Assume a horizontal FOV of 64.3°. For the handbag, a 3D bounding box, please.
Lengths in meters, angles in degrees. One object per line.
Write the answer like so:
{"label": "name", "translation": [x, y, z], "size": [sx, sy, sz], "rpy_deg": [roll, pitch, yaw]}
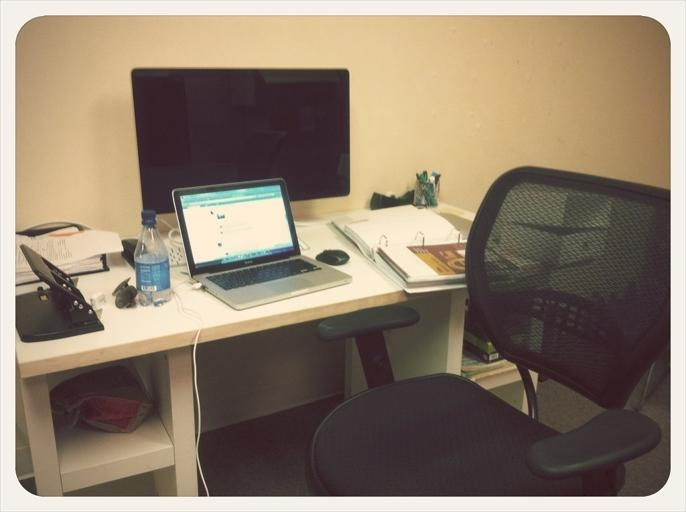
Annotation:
{"label": "handbag", "translation": [-0.668, 0.408, 1.542], "size": [0.180, 0.069, 0.183], "rpy_deg": [3, 19, -27]}

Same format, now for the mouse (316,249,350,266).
{"label": "mouse", "translation": [-0.023, 0.005, 1.746], "size": [0.076, 0.026, 0.054], "rpy_deg": [16, 21, 42]}

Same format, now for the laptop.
{"label": "laptop", "translation": [-0.235, -0.030, 1.612], "size": [0.431, 0.294, 0.444], "rpy_deg": [-15, 30, -37]}

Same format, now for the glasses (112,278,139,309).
{"label": "glasses", "translation": [-0.595, 0.114, 1.505], "size": [0.020, 0.069, 0.068], "rpy_deg": [4, 36, 35]}

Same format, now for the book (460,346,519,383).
{"label": "book", "translation": [0.534, 0.394, 2.027], "size": [0.143, 0.035, 0.141], "rpy_deg": [-11, 26, -36]}
